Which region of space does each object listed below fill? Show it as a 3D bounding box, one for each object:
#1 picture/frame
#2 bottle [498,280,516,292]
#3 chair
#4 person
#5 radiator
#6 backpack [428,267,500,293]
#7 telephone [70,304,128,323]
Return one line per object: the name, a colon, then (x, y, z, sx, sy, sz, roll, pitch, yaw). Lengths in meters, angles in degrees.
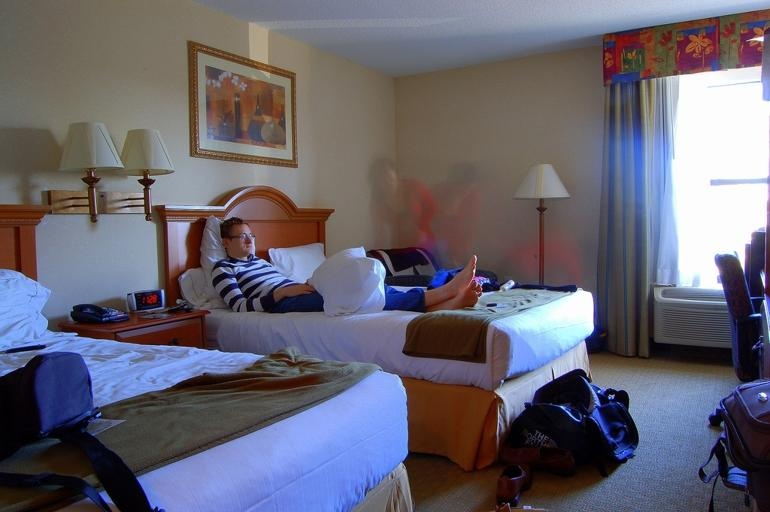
picture/frame: (-1.174, -1.229, 4.379, 0.050, 0.916, 1.203, 1, 1, 37)
bottle: (0.958, 0.229, 4.275, 0.063, 0.067, 0.224, -9, 1, 31)
chair: (2.082, 0.384, 3.221, 0.291, 0.804, 0.248, 8, 15, 33)
person: (-0.397, 0.192, 3.855, 1.393, 0.520, 0.871, -1, 1, 15)
radiator: (2.636, 0.551, 4.699, 0.673, 0.547, 0.482, -1, -3, 26)
backpack: (0.597, 0.175, 4.197, 0.327, 0.106, 0.337, 0, 0, 34)
telephone: (-1.769, 0.357, 3.360, 0.215, 0.081, 0.167, 2, 2, -18)
